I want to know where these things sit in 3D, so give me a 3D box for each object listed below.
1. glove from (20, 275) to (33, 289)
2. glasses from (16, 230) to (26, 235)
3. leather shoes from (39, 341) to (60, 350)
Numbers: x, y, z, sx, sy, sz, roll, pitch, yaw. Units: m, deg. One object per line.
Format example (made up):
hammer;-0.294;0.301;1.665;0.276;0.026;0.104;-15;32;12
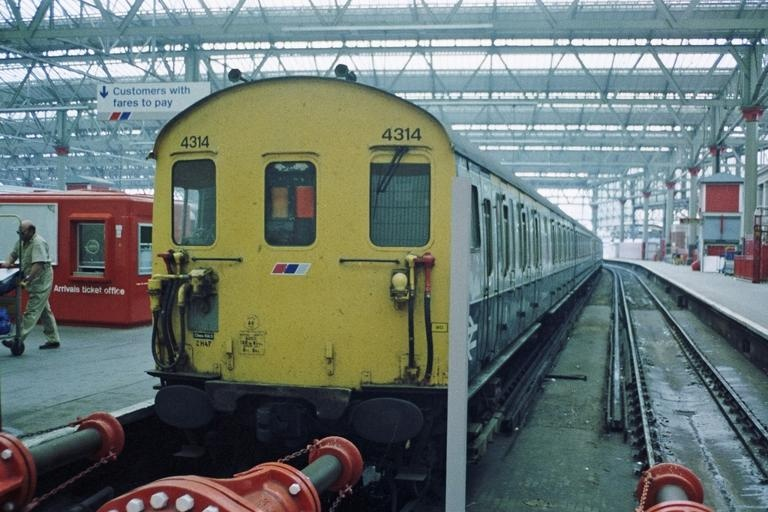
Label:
glove;-8.027;0.554;16.244;0.199;0.269;0.268;0;6;-23
glasses;-8.349;-0.579;16.635;0.179;0.148;0.260;-2;4;-5
leather shoes;-7.760;2.047;16.895;0.476;0.231;0.184;5;-1;-12
